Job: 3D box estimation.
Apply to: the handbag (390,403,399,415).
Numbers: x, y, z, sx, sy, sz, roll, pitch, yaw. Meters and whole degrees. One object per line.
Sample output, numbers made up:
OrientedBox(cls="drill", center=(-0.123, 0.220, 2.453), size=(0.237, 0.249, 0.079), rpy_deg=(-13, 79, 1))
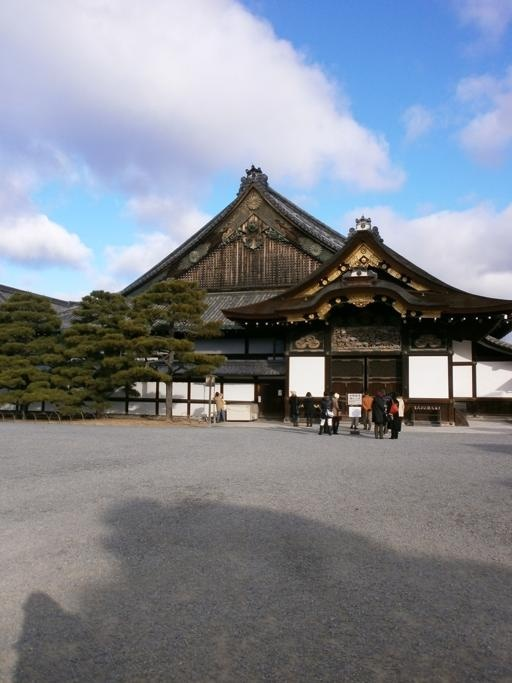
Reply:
OrientedBox(cls="handbag", center=(4.090, 2.029, 16.406), size=(0.273, 0.322, 0.353), rpy_deg=(0, -3, 1))

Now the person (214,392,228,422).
OrientedBox(cls="person", center=(-1.591, 2.944, 24.544), size=(0.559, 1.300, 1.763), rpy_deg=(0, -3, -3))

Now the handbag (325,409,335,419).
OrientedBox(cls="handbag", center=(2.325, 2.317, 17.523), size=(0.176, 0.263, 0.497), rpy_deg=(-1, -4, 24))
